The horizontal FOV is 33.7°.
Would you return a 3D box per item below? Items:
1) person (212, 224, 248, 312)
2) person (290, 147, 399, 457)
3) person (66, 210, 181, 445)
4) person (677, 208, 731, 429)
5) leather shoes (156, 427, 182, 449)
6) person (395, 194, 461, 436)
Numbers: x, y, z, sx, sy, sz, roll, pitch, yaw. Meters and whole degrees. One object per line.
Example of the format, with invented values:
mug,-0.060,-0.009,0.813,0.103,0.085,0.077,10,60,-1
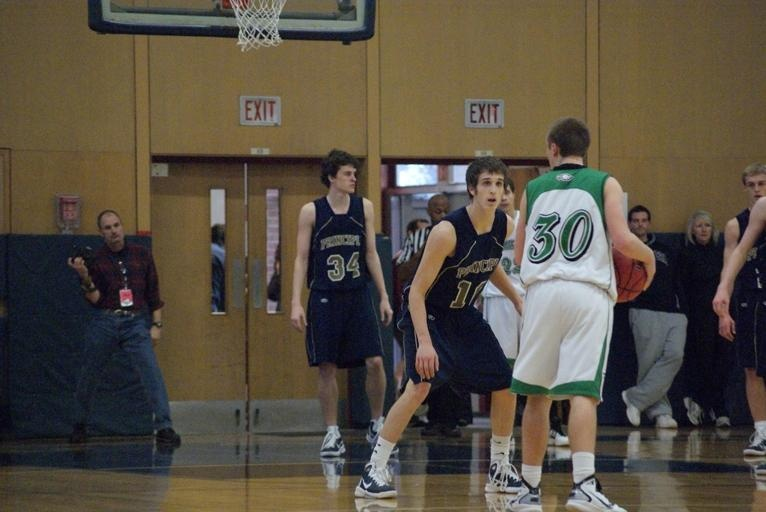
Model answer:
person,-1.835,0.142,14.209,0.173,0.963,0.193,-1,9,-2
person,-0.447,0.459,12.898,0.944,3.213,0.938,0,-2,-6
person,-2.690,0.725,12.988,1.048,2.305,0.628,-1,9,-6
person,3.631,0.690,14.094,0.542,2.284,0.578,2,-18,-4
leather shoes,-2.169,1.861,12.877,0.124,0.164,0.332,5,-12,-37
person,0.542,0.626,13.599,0.728,2.533,0.763,3,-1,-29
